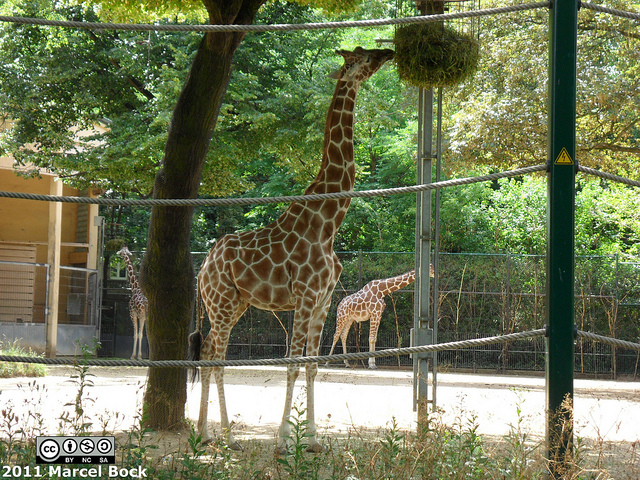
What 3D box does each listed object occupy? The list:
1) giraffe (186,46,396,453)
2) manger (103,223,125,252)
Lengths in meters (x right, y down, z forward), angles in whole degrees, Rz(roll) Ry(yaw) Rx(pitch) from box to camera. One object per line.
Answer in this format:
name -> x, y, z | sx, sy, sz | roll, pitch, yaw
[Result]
giraffe -> -0.541, 0.074, 21.452 | 2.580, 6.418, 1.291 | -2, -8, 34
manger -> -5.408, -0.091, 35.828 | 0.529, 1.005, 2.561 | 3, -7, -8
